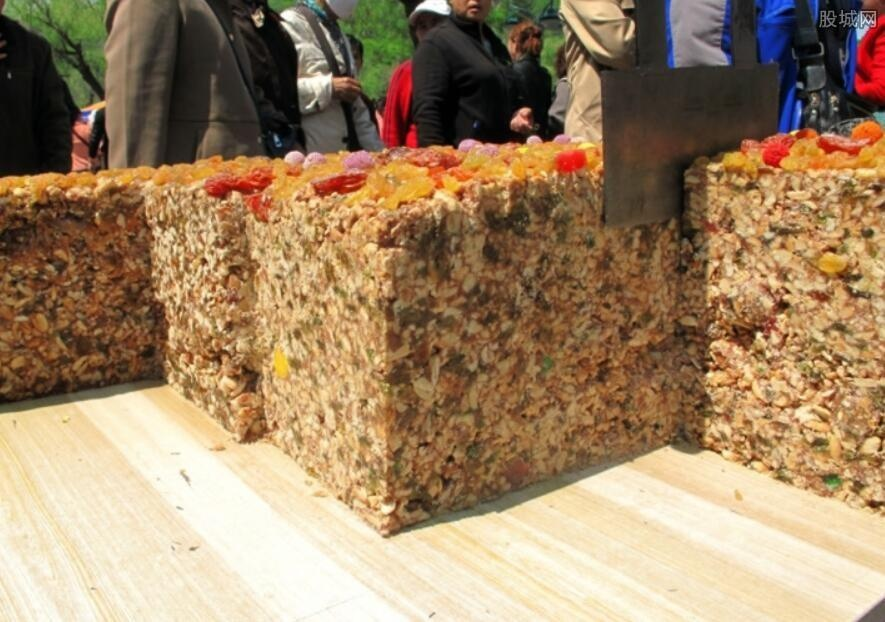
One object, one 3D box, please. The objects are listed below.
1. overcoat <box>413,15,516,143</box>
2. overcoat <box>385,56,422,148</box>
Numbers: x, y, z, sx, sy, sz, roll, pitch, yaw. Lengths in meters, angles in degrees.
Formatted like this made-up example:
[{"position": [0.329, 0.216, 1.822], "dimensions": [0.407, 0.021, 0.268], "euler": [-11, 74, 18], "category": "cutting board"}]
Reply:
[{"position": [0.174, -1.123, 3.899], "dimensions": [0.405, 0.596, 0.702], "euler": [9, 17, 34], "category": "overcoat"}, {"position": [-0.234, -1.133, 4.452], "dimensions": [0.220, 0.456, 0.306], "euler": [0, 2, -27], "category": "overcoat"}]
